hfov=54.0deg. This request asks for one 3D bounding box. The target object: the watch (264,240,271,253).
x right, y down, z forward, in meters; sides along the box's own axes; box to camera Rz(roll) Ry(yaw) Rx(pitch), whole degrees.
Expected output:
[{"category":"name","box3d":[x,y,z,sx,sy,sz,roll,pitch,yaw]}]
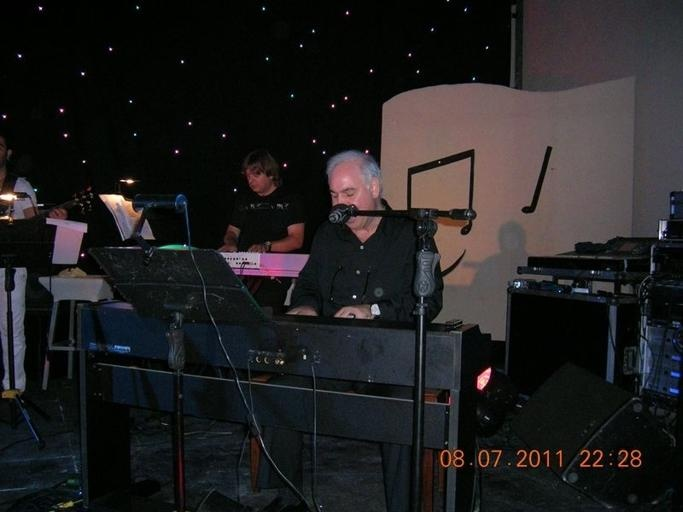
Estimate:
[{"category":"watch","box3d":[-0.603,-0.075,5.338,0.050,0.084,0.082,14,23,22]}]

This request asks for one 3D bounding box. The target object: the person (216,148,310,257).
[{"category":"person","box3d":[-0.558,-0.461,5.982,0.793,1.255,0.802,1,3,26]}]

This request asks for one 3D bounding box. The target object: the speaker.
[{"category":"speaker","box3d":[1.612,1.171,4.586,0.850,0.878,0.887,-19,-5,2]}]

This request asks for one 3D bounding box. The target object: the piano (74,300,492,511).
[{"category":"piano","box3d":[-0.406,0.929,3.846,2.327,1.169,0.521,3,0,19]}]

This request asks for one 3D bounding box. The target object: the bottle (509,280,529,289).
[{"category":"bottle","box3d":[1.529,0.241,5.782,0.225,0.081,0.119,3,-1,40]}]

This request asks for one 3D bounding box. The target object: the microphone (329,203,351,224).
[{"category":"microphone","box3d":[-0.007,-0.220,3.521,0.041,0.088,0.107,7,13,39]}]
